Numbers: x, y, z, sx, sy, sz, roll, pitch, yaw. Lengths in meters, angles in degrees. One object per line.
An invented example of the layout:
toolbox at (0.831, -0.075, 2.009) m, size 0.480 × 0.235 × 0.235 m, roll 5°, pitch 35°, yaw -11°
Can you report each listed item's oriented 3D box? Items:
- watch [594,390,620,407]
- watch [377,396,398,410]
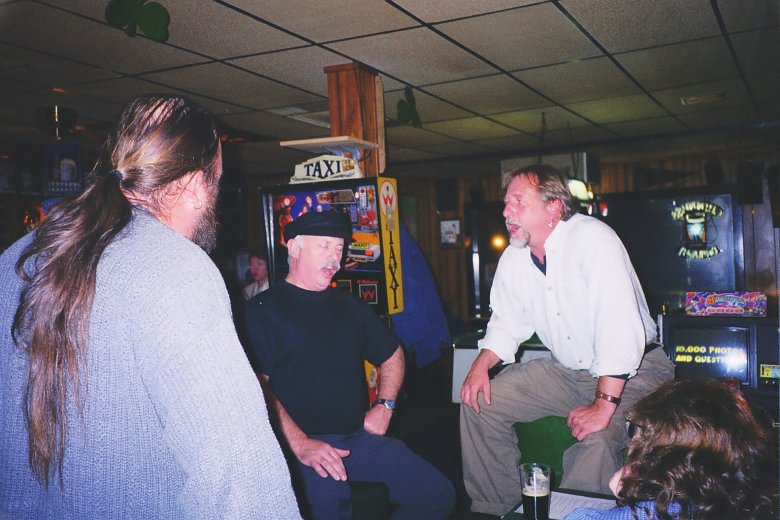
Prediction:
watch at (1.178, 0.748, 3.653) m, size 0.099 × 0.034 × 0.098 m, roll 19°, pitch 1°, yaw 28°
watch at (-0.021, 0.796, 3.703) m, size 0.096 × 0.061 × 0.103 m, roll 5°, pitch 5°, yaw 34°
